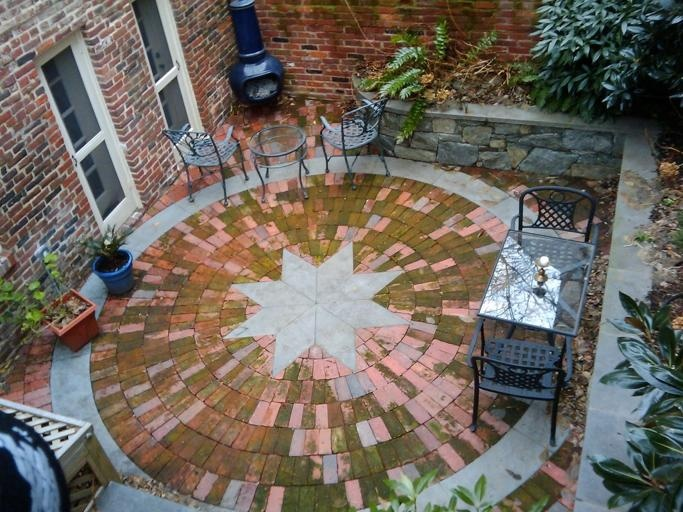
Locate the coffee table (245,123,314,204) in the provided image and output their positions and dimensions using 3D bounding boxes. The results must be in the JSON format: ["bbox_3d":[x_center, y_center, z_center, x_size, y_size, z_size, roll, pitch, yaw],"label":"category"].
[{"bbox_3d":[-0.852,-1.406,6.461,0.814,0.720,1.048,-10,49,-6],"label":"coffee table"}]

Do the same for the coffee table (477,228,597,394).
[{"bbox_3d":[1.767,0.250,4.226,0.779,0.721,1.122,10,50,23],"label":"coffee table"}]

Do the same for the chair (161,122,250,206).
[{"bbox_3d":[-1.806,-1.410,6.426,0.723,1.171,0.815,3,46,5],"label":"chair"}]

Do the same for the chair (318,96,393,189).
[{"bbox_3d":[0.229,-1.678,6.385,0.823,1.271,0.851,-27,43,-23],"label":"chair"}]

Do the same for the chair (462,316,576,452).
[{"bbox_3d":[1.503,0.931,3.947,0.808,1.036,0.695,4,44,20],"label":"chair"}]
